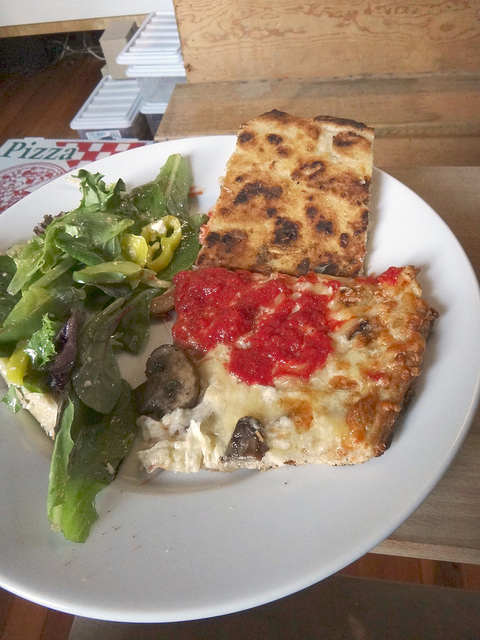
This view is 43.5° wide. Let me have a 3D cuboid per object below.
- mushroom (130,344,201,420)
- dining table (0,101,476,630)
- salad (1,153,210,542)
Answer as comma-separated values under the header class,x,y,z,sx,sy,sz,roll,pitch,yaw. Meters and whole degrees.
class,x,y,z,sx,sy,sz,roll,pitch,yaw
mushroom,-0.226,0.193,1.870,0.244,0.091,0.215,26,77,25
dining table,0.067,0.103,2.228,1.819,0.922,1.894,-6,58,8
salad,-0.734,0.225,2.397,1.103,0.168,1.237,45,53,11
